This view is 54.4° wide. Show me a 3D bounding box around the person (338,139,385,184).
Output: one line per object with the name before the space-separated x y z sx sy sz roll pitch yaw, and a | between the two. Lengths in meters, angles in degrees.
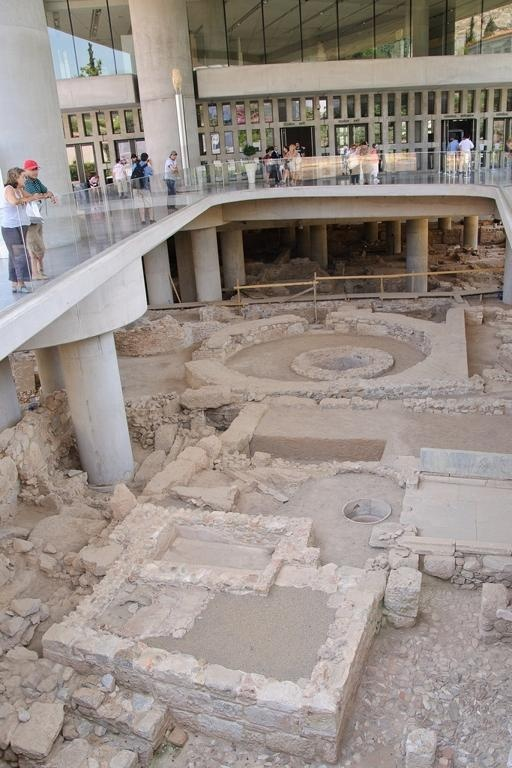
person | 3.829 -7.992 18.071 1.327 1.436 0.559 12 25 43

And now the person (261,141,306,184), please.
person | 1.049 -8.209 18.710 1.463 1.346 0.384 -2 19 11
